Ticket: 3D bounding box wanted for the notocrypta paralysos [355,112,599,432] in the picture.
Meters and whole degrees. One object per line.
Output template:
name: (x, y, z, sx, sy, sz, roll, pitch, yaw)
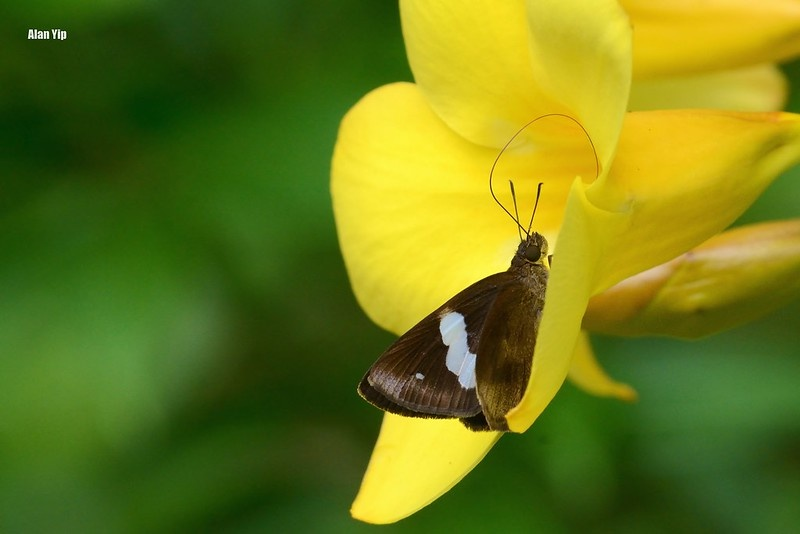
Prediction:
notocrypta paralysos: (0.101, 0.055, 0.923, 0.205, 0.245, 0.386, -6, 59, 16)
